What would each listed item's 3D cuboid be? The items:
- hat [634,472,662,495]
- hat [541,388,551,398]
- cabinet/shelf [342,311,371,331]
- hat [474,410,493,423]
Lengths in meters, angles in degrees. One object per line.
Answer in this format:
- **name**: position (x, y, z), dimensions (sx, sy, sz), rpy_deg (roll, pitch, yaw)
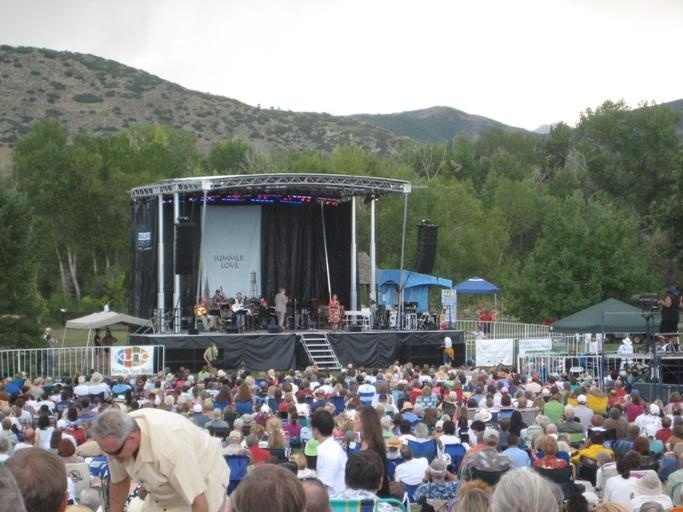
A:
- **hat**: position (14.089, 10.596, 70.060), dimensions (0.805, 0.504, 1.158), rpy_deg (2, 33, 5)
- **hat**: position (10.216, 6.988, 76.694), dimensions (0.379, 0.480, 0.497), rpy_deg (3, 9, 11)
- **cabinet/shelf**: position (0.868, 3.801, 89.210), dimensions (1.590, 1.378, 3.280), rpy_deg (-1, -7, 0)
- **hat**: position (6.832, 7.806, 73.977), dimensions (0.592, 0.253, 0.687), rpy_deg (3, 27, 16)
